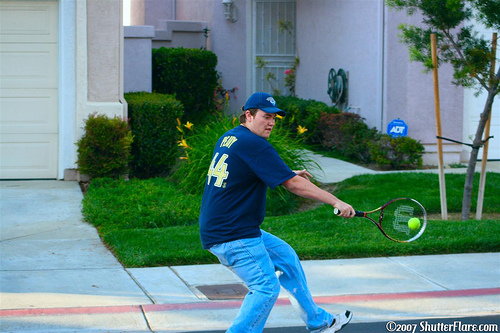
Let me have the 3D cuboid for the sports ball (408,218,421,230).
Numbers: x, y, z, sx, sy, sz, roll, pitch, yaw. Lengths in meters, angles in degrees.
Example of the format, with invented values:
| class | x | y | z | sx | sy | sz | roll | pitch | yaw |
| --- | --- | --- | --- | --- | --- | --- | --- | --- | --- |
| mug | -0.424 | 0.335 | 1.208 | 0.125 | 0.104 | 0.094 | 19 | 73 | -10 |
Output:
| class | x | y | z | sx | sy | sz | roll | pitch | yaw |
| --- | --- | --- | --- | --- | --- | --- | --- | --- | --- |
| sports ball | 2.600 | 0.930 | 13.430 | 0.199 | 0.162 | 0.179 | -1 | 1 | -2 |
